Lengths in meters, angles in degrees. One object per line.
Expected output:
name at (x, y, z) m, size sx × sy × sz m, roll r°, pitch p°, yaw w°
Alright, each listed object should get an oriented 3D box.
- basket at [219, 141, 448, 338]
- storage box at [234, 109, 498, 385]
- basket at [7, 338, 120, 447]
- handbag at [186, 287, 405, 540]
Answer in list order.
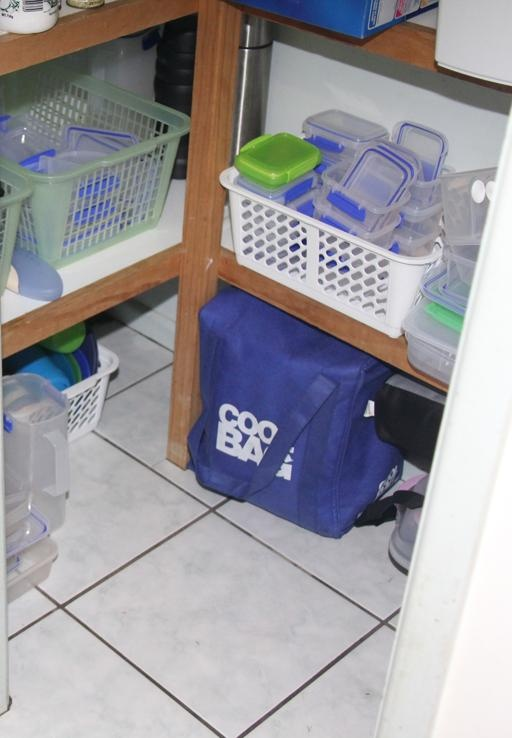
basket at (0.088, -0.202, 1.143) m, size 0.389 × 0.171 × 0.251 m, roll 29°, pitch 49°, yaw 14°
storage box at (0.137, -0.218, 1.129) m, size 0.477 × 0.210 × 0.311 m, roll 30°, pitch 54°, yaw 13°
basket at (-0.418, 0.041, 1.482) m, size 0.150 × 0.130 × 0.195 m, roll 35°, pitch 54°, yaw 22°
handbag at (0.080, 0.076, 1.236) m, size 0.347 × 0.333 × 0.251 m, roll 32°, pitch 55°, yaw 25°
